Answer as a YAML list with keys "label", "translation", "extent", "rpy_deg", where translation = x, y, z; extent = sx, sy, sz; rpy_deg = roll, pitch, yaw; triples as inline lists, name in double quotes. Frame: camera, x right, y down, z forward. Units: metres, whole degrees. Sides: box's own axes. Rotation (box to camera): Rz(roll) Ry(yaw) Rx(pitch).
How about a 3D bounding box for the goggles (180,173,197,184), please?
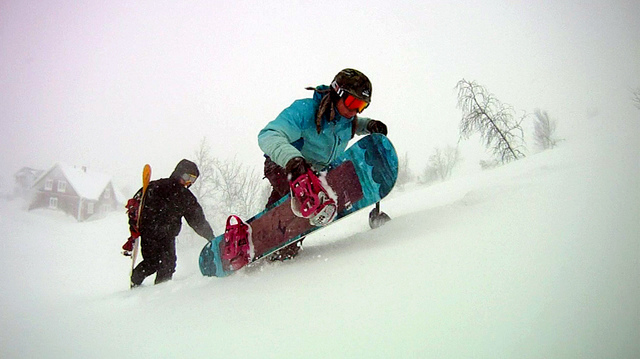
- label: "goggles"
  translation: [-2.466, -0.022, 8.582]
  extent: [0.219, 0.151, 0.187]
  rpy_deg: [26, 1, 35]
